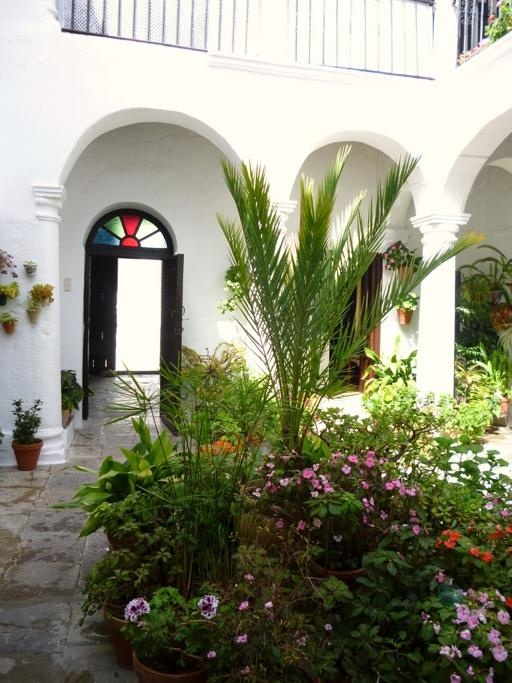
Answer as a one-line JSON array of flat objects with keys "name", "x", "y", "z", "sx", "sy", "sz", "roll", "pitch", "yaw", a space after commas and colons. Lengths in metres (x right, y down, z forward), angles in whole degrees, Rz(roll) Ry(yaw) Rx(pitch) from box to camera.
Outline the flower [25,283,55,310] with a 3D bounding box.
[{"name": "flower", "x": -1.846, "y": -0.392, "z": 4.067, "sx": 0.233, "sy": 0.219, "sz": 0.143, "roll": -16, "pitch": 5, "yaw": -26}]

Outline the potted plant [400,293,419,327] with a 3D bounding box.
[{"name": "potted plant", "x": 2.053, "y": -0.406, "z": 6.392, "sx": 0.313, "sy": 0.324, "sz": 0.697, "roll": -12, "pitch": 5, "yaw": 19}]
